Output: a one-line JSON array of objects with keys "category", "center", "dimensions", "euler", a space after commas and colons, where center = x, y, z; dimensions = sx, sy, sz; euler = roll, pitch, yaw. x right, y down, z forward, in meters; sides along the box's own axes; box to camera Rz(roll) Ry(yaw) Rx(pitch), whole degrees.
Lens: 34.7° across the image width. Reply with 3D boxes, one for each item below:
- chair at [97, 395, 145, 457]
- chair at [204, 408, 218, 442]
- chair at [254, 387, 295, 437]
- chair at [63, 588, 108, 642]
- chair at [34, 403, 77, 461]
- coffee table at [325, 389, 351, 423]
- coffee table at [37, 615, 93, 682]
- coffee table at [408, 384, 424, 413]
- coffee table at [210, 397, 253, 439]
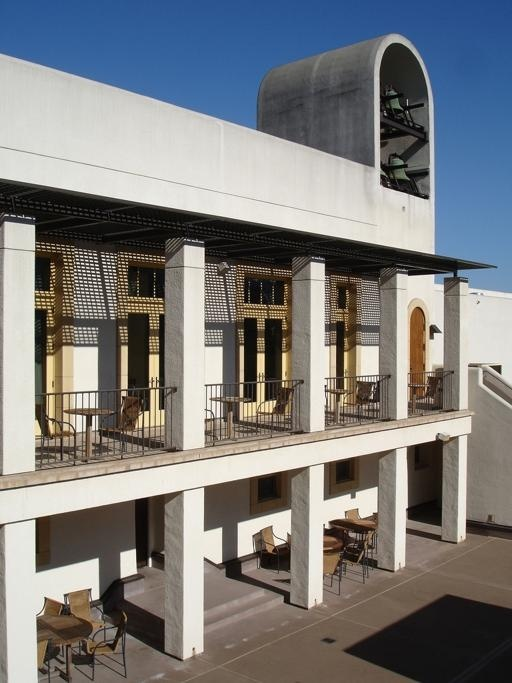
[{"category": "chair", "center": [-2.229, 1.380, 13.519], "dimensions": [0.484, 1.148, 0.616], "euler": [3, -5, 18]}, {"category": "chair", "center": [-0.812, 1.495, 14.717], "dimensions": [0.138, 0.427, 0.447], "euler": [1, -4, -30]}, {"category": "chair", "center": [0.342, 1.332, 15.962], "dimensions": [0.467, 1.092, 0.553], "euler": [4, -2, -6]}, {"category": "chair", "center": [-2.657, 4.341, 12.689], "dimensions": [0.470, 1.015, 0.528], "euler": [-5, 2, -36]}, {"category": "chair", "center": [-3.232, 1.445, 13.292], "dimensions": [0.524, 1.037, 0.592], "euler": [1, 6, 35]}, {"category": "coffee table", "center": [1.730, 1.309, 16.834], "dimensions": [0.547, 1.051, 0.721], "euler": [0, -4, -2]}, {"category": "coffee table", "center": [-2.697, 4.387, 11.494], "dimensions": [0.744, 0.937, 1.203], "euler": [1, 3, -18]}, {"category": "coffee table", "center": [3.882, 1.368, 19.751], "dimensions": [0.379, 0.690, 0.493], "euler": [0, -4, 7]}, {"category": "coffee table", "center": [-0.428, 1.322, 14.736], "dimensions": [0.555, 0.858, 0.628], "euler": [18, 10, 33]}]
